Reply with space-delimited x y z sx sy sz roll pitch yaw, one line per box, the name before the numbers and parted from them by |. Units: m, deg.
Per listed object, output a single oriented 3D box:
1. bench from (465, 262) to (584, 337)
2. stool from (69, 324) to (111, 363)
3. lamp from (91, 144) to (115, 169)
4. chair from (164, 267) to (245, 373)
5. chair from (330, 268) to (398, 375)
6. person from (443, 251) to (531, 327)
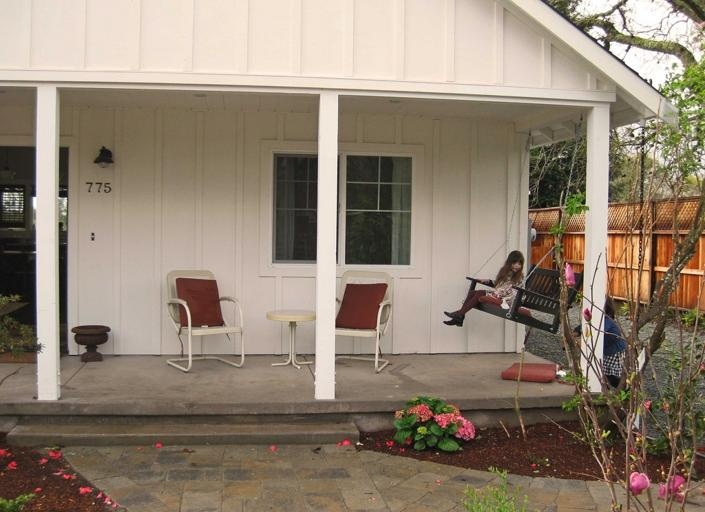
bench | 1.991 0.450 7.209 0.694 0.716 1.205 13 0 -13
stool | -2.994 1.000 6.908 0.373 0.354 0.393 1 -6 -2
lamp | -2.878 -1.166 7.094 0.232 0.278 0.246 4 8 -3
chair | -1.690 0.721 6.846 0.860 1.128 0.839 -1 -3 27
chair | 0.053 0.744 6.974 0.704 1.067 0.724 1 3 22
person | 1.634 0.406 7.498 0.852 1.119 0.499 15 -6 -8
